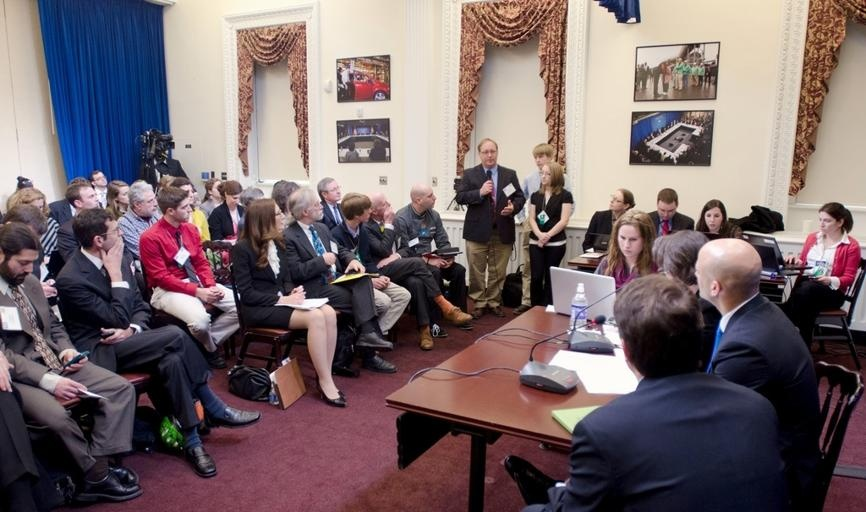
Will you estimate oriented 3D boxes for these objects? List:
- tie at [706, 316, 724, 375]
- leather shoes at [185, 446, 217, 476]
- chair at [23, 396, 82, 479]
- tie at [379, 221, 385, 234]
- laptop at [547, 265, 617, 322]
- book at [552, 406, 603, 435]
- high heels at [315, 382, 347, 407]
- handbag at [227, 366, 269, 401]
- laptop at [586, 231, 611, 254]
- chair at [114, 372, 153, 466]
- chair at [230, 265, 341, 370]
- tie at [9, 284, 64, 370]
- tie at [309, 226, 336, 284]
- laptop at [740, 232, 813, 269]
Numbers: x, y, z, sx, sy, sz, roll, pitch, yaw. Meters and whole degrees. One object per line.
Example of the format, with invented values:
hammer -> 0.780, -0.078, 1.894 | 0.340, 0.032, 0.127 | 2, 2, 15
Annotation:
tie -> 1.911, 0.602, 3.926 | 0.134, 0.370, 0.281 | -4, 4, 30
leather shoes -> -1.853, 1.646, 4.644 | 0.341, 0.143, 0.129 | 22, 25, 35
chair -> -2.769, 1.359, 4.398 | 0.416, 0.545, 0.194 | 10, 32, 18
tie -> -0.609, -0.338, 6.929 | 0.110, 0.035, 0.109 | 25, 18, -12
laptop -> 1.208, 0.261, 4.682 | 0.541, 0.390, 0.394 | 7, 13, 43
book -> 0.873, 0.991, 3.572 | 0.236, 0.044, 0.259 | 10, 14, 40
high heels -> -0.977, 1.302, 5.493 | 0.373, 0.153, 0.135 | 4, 6, 41
handbag -> -1.737, 1.209, 5.510 | 0.365, 0.254, 0.282 | 4, 3, -41
laptop -> 2.045, -0.155, 7.082 | 0.312, 0.230, 0.214 | 4, -6, 33
chair -> -2.412, 1.287, 4.834 | 0.403, 0.587, 0.573 | 1, -2, -24
chair -> -1.581, 0.640, 5.768 | 0.752, 0.977, 0.719 | -2, 5, -22
tie -> -3.030, 0.544, 4.434 | 0.283, 0.625, 0.156 | 6, 14, 22
tie -> -1.203, -0.061, 6.163 | 0.141, 0.767, 0.193 | -36, -37, 29
laptop -> 3.490, -0.047, 5.854 | 0.271, 0.292, 0.396 | 19, 4, -18
